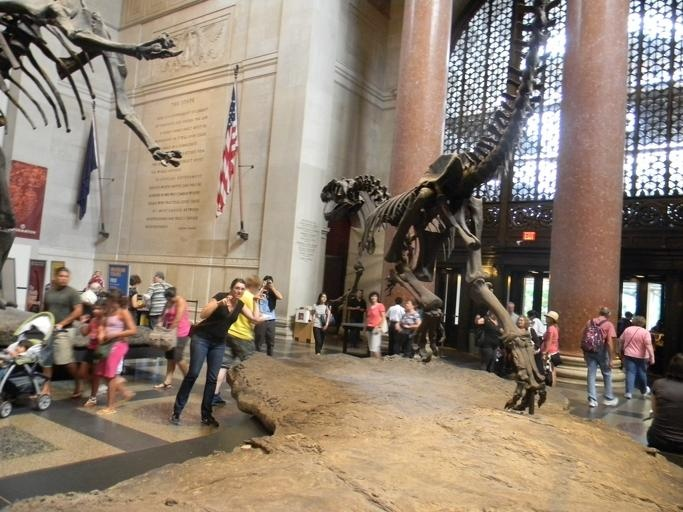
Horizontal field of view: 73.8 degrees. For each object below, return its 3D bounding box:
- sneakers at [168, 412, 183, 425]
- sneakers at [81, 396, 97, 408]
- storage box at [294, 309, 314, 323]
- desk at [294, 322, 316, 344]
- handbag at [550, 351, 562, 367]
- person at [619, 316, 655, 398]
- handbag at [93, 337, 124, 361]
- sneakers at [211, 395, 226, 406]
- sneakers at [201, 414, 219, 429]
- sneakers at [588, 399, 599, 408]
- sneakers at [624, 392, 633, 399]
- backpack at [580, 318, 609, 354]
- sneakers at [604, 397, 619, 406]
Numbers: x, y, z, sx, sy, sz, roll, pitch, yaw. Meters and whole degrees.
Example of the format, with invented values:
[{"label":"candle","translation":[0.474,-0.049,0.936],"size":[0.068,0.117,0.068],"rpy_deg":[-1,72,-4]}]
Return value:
[{"label":"sneakers","translation":[-1.853,1.799,5.057],"size":[0.119,0.119,0.066],"rpy_deg":[17,21,42]},{"label":"sneakers","translation":[-3.077,1.755,5.504],"size":[0.172,0.114,0.078],"rpy_deg":[4,-7,7]},{"label":"storage box","translation":[-1.013,1.619,12.545],"size":[0.412,0.367,0.410],"rpy_deg":[-4,-12,31]},{"label":"desk","translation":[-1.070,2.094,12.539],"size":[0.557,0.538,0.566],"rpy_deg":[-6,-10,38]},{"label":"handbag","translation":[3.799,1.790,8.022],"size":[0.085,0.249,0.399],"rpy_deg":[2,-2,35]},{"label":"person","translation":[5.188,1.752,7.952],"size":[0.481,1.429,0.668],"rpy_deg":[2,-2,22]},{"label":"handbag","translation":[-2.801,1.079,5.438],"size":[0.268,0.189,0.327],"rpy_deg":[-24,-5,34]},{"label":"sneakers","translation":[-1.586,1.863,5.917],"size":[0.076,0.137,0.209],"rpy_deg":[2,-1,38]},{"label":"sneakers","translation":[-1.457,1.847,5.118],"size":[0.263,0.168,0.086],"rpy_deg":[1,1,-14]},{"label":"sneakers","translation":[4.031,2.332,7.232],"size":[0.082,0.102,0.243],"rpy_deg":[-7,-23,38]},{"label":"sneakers","translation":[5.045,2.422,7.940],"size":[0.080,0.076,0.186],"rpy_deg":[-5,-10,26]},{"label":"backpack","translation":[4.113,1.279,7.380],"size":[0.348,0.533,0.259],"rpy_deg":[4,-2,-37]},{"label":"sneakers","translation":[4.493,2.378,7.501],"size":[0.340,0.139,0.132],"rpy_deg":[-2,2,-34]}]
